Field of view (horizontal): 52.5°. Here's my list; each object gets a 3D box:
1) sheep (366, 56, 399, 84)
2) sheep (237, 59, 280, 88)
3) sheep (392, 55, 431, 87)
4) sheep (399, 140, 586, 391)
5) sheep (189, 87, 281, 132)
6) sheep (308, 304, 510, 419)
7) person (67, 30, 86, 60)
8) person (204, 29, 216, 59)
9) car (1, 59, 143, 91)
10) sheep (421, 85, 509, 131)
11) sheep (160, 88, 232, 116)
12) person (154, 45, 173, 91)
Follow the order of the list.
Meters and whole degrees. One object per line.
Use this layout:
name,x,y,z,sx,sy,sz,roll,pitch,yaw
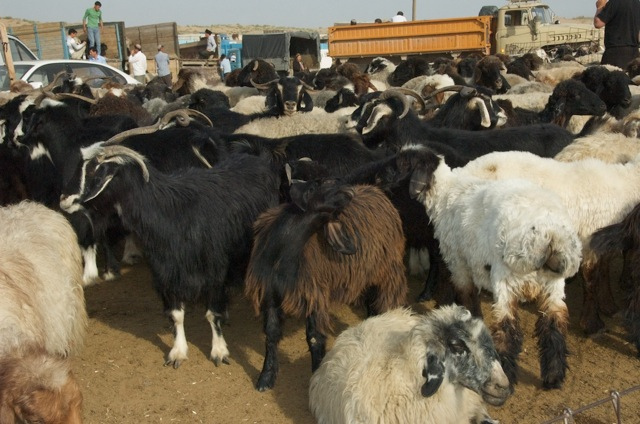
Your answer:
sheep,1.825,-3.980,18.404,1.044,0.789,0.844,-6,22,-23
sheep,-1.669,-3.842,18.433,1.189,0.804,0.563,20,9,10
sheep,2.494,-3.582,17.181,1.105,1.008,0.792,-6,18,-4
sheep,1.897,0.482,7.365,1.153,2.023,3.643,-3,12,-8
sheep,-1.453,-1.777,11.014,0.703,0.576,1.409,-16,9,-39
sheep,0.775,1.387,5.846,1.398,0.887,1.051,1,13,29
person,-7.712,-5.354,20.670,0.532,0.879,0.896,-7,16,-19
person,-4.829,-7.512,29.115,0.394,1.217,1.248,-4,15,-8
car,-6.437,-3.429,16.237,1.634,0.740,3.437,4,16,19
sheep,2.019,-1.544,9.572,1.316,0.761,0.635,7,31,36
sheep,-2.180,-2.070,11.963,1.264,0.720,0.594,0,13,11
person,-4.859,-4.579,20.290,0.427,1.217,1.948,-5,15,-13
